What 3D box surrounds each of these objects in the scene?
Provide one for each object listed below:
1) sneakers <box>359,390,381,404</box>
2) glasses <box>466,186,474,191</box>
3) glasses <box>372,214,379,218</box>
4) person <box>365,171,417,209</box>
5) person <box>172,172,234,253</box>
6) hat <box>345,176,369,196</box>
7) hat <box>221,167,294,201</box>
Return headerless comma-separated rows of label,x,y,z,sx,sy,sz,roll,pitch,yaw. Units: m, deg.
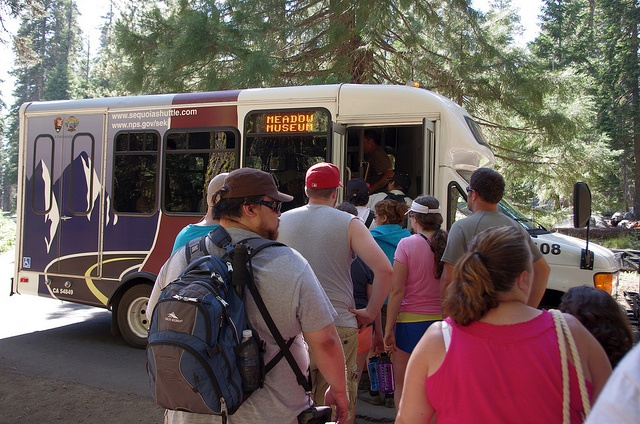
sneakers,0.666,2.441,7.144,0.117,0.130,0.296,3,0,-38
glasses,1.758,-0.273,6.267,0.107,0.037,0.116,5,-1,6
glasses,0.673,0.041,6.474,0.056,0.060,0.043,2,-2,-3
person,1.201,-0.343,8.175,0.735,0.418,0.426,-30,29,-29
person,-1.308,0.000,5.926,0.889,0.937,0.488,5,10,1
hat,0.475,-0.310,6.684,0.251,0.215,0.439,6,4,15
hat,-0.530,-0.217,4.275,0.390,0.211,0.258,-2,2,-11
